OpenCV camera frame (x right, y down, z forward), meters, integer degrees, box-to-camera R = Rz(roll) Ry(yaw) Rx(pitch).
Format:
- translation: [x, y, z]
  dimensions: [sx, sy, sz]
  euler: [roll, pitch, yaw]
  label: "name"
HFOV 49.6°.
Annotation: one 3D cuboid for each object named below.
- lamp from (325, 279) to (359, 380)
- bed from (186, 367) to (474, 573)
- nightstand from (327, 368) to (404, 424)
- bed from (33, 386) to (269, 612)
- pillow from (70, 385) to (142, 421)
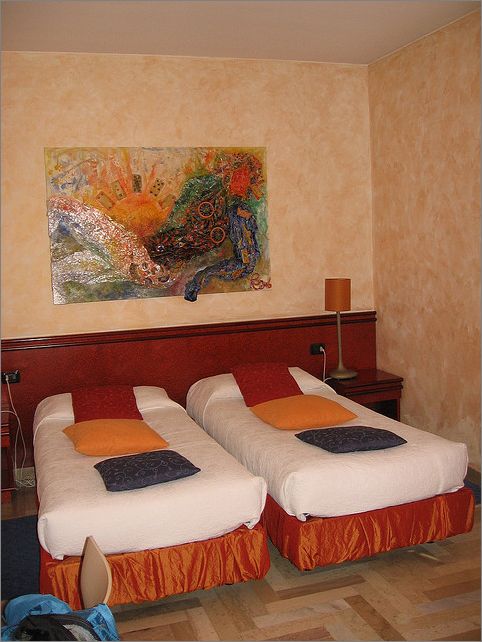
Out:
- translation: [0.810, 0.058, 4.264]
  dimensions: [0.228, 0.813, 0.321]
  euler: [-1, 4, 10]
  label: "lamp"
- translation: [0.311, 0.711, 2.947]
  dimensions: [0.799, 0.396, 1.258]
  euler: [-4, 6, -23]
  label: "bed"
- translation: [1.013, 0.530, 4.289]
  dimensions: [0.491, 0.627, 0.448]
  euler: [-5, 9, -26]
  label: "nightstand"
- translation: [-0.515, 0.914, 2.647]
  dimensions: [0.987, 0.576, 1.131]
  euler: [-3, 4, -22]
  label: "bed"
- translation: [-0.857, 0.522, 3.271]
  dimensions: [0.297, 0.070, 0.250]
  euler: [-1, 23, -17]
  label: "pillow"
